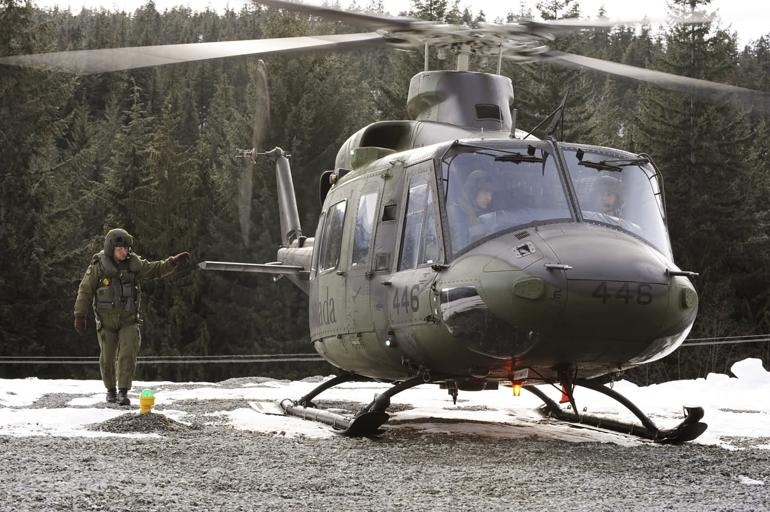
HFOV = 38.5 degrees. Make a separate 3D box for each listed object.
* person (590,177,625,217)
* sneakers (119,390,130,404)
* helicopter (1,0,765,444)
[{"bbox_3d":[3.764,-0.996,18.545,0.520,0.652,0.356,0,10,1],"label":"person"},{"bbox_3d":[-4.817,2.624,20.229,0.186,0.261,0.284,11,-30,-28],"label":"sneakers"},{"bbox_3d":[2.320,-0.253,19.257,9.620,4.254,10.579,3,-5,-31],"label":"helicopter"}]
